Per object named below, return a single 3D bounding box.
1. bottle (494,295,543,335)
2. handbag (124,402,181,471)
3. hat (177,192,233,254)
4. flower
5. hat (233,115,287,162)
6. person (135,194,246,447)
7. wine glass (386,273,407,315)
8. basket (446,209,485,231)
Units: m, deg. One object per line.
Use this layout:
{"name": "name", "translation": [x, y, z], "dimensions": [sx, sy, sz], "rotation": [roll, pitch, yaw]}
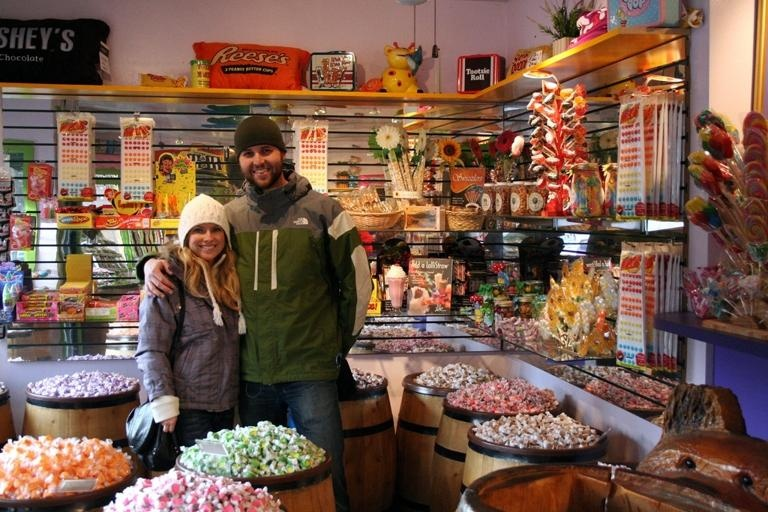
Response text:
{"name": "bottle", "translation": [0.938, 0.416, 4.325], "dimensions": [0.228, 0.278, 0.298], "rotation": [0, -2, 1]}
{"name": "handbag", "translation": [-1.147, 0.909, 3.081], "dimensions": [0.222, 0.407, 0.417], "rotation": [1, -2, -30]}
{"name": "hat", "translation": [-0.979, -0.215, 3.413], "dimensions": [0.244, 0.273, 0.303], "rotation": [2, 9, -14]}
{"name": "flower", "translation": [0.520, -0.822, 4.814], "dimensions": [1.290, 0.463, 0.480], "rotation": [-1, 10, 12]}
{"name": "hat", "translation": [-0.698, -0.655, 3.452], "dimensions": [0.235, 0.176, 0.232], "rotation": [-5, 6, -5]}
{"name": "person", "translation": [-1.015, 0.330, 3.233], "dimensions": [0.539, 1.256, 0.345], "rotation": [-7, 7, -28]}
{"name": "wine glass", "translation": [0.079, 0.276, 4.457], "dimensions": [0.226, 0.278, 0.220], "rotation": [0, 4, -6]}
{"name": "basket", "translation": [0.607, -0.285, 4.552], "dimensions": [0.210, 0.088, 0.203], "rotation": [-4, 6, -36]}
